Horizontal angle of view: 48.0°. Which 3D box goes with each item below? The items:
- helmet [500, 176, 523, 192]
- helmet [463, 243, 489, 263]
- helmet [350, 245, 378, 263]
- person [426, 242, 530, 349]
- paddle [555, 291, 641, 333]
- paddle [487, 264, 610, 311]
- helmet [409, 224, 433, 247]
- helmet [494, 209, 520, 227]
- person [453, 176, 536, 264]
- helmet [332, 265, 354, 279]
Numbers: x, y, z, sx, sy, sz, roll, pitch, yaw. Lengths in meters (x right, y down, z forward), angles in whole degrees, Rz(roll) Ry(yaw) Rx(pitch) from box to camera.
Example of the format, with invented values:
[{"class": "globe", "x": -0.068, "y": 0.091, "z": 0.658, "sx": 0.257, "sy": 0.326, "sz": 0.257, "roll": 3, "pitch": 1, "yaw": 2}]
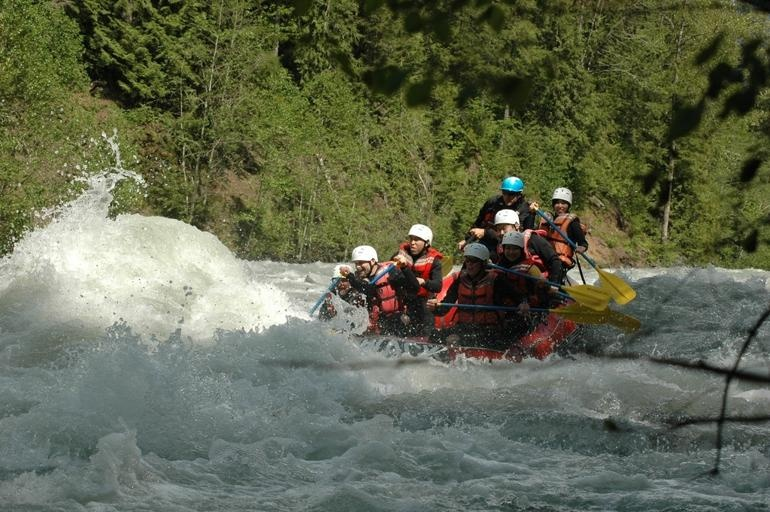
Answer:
[{"class": "helmet", "x": 2.373, "y": -1.376, "z": 15.977, "sx": 0.319, "sy": 0.257, "sz": 0.684, "roll": 3, "pitch": 13, "yaw": 12}, {"class": "helmet", "x": 1.518, "y": -0.087, "z": 14.195, "sx": 0.256, "sy": 0.257, "sz": 0.373, "roll": 12, "pitch": -11, "yaw": 45}, {"class": "helmet", "x": -0.401, "y": -0.050, "z": 14.803, "sx": 0.293, "sy": 0.254, "sz": 0.391, "roll": -3, "pitch": -4, "yaw": -43}, {"class": "person", "x": 1.578, "y": 0.693, "z": 14.326, "sx": 1.224, "sy": 1.623, "sz": 0.916, "roll": -11, "pitch": -22, "yaw": 27}, {"class": "paddle", "x": 3.499, "y": 0.980, "z": 14.363, "sx": 2.046, "sy": 0.564, "sz": 0.102, "roll": 11, "pitch": -5, "yaw": -21}, {"class": "paddle", "x": 2.688, "y": 0.525, "z": 14.499, "sx": 1.278, "sy": 0.095, "sz": 0.353, "roll": 23, "pitch": 31, "yaw": 1}, {"class": "helmet", "x": 0.638, "y": -0.430, "z": 15.050, "sx": 0.323, "sy": 0.349, "sz": 0.460, "roll": 21, "pitch": -1, "yaw": 39}, {"class": "helmet", "x": 2.151, "y": -0.722, "z": 15.198, "sx": 0.364, "sy": 0.298, "sz": 0.272, "roll": -18, "pitch": 21, "yaw": -32}, {"class": "person", "x": 2.290, "y": -0.603, "z": 16.159, "sx": 1.196, "sy": 1.697, "sz": 0.930, "roll": 11, "pitch": -4, "yaw": -12}, {"class": "helmet", "x": -0.750, "y": 0.268, "z": 15.551, "sx": 0.283, "sy": 0.135, "sz": 0.362, "roll": 0, "pitch": -6, "yaw": 4}]
